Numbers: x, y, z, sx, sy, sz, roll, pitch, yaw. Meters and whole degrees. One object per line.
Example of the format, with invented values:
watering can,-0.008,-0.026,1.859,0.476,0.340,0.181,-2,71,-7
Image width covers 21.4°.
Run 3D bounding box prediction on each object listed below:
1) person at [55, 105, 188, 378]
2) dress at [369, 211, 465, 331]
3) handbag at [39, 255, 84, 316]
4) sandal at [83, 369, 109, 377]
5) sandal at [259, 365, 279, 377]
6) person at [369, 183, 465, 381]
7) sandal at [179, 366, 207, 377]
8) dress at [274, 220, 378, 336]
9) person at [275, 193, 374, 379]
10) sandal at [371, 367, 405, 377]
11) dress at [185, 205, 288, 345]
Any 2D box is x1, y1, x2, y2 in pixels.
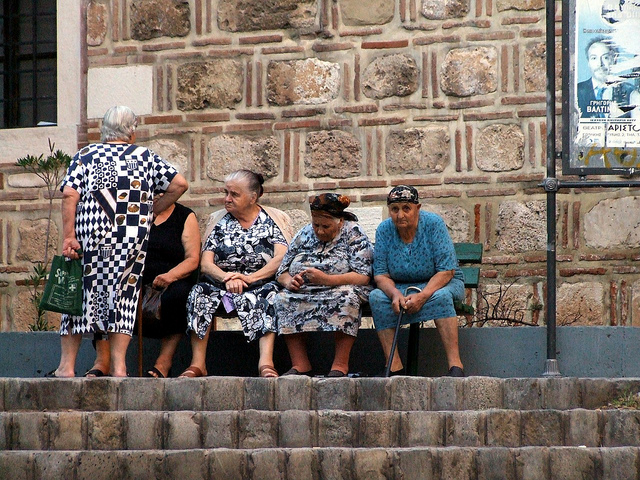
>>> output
person,-1.545,0.006,12.848,0.911,2.046,0.450,-1,-1,-9
dress,0.726,0.232,13.198,0.659,0.906,0.744,-2,9,9
handbag,-1.890,0.311,12.600,0.321,0.511,0.079,8,21,-6
sandal,-1.699,1.016,12.818,0.202,0.054,0.190,-1,-1,8
sandal,-0.392,1.010,12.914,0.085,0.063,0.224,0,-8,-15
person,0.739,0.319,13.032,0.704,1.457,0.597,-1,-1,5
sandal,-0.958,1.015,12.883,0.164,0.080,0.347,-1,-1,-4
dress,0.025,0.327,13.272,0.745,1.005,0.618,-1,-7,13
person,0.002,0.345,13.154,0.784,1.388,0.597,-1,-1,15
sandal,0.523,1.027,12.920,0.236,0.103,0.088,1,-7,3
dress,-0.629,0.184,13.337,0.866,1.460,0.871,-2,6,-27
